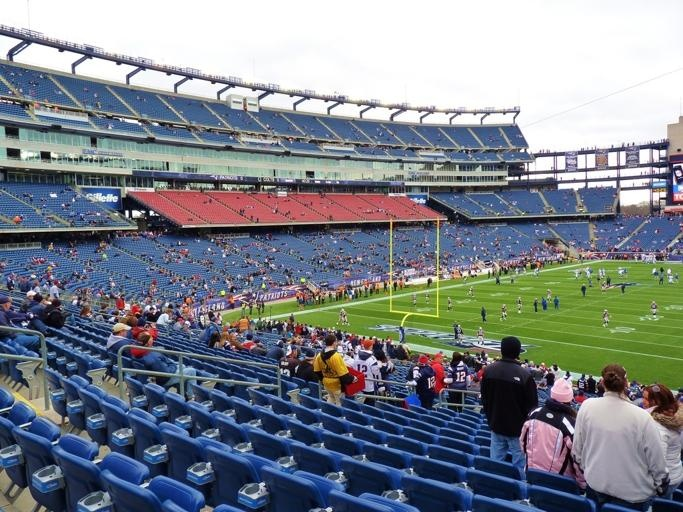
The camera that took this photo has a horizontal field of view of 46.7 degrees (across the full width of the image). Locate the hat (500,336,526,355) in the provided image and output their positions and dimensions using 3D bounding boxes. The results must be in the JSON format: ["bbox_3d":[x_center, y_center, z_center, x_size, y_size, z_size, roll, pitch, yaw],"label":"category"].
[{"bbox_3d":[3.196,1.697,14.828,0.376,0.339,0.429,-1,-7,8],"label":"hat"}]

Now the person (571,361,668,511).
[{"bbox_3d":[4.672,3.054,13.328,1.512,2.413,0.388,1,-6,16],"label":"person"}]
